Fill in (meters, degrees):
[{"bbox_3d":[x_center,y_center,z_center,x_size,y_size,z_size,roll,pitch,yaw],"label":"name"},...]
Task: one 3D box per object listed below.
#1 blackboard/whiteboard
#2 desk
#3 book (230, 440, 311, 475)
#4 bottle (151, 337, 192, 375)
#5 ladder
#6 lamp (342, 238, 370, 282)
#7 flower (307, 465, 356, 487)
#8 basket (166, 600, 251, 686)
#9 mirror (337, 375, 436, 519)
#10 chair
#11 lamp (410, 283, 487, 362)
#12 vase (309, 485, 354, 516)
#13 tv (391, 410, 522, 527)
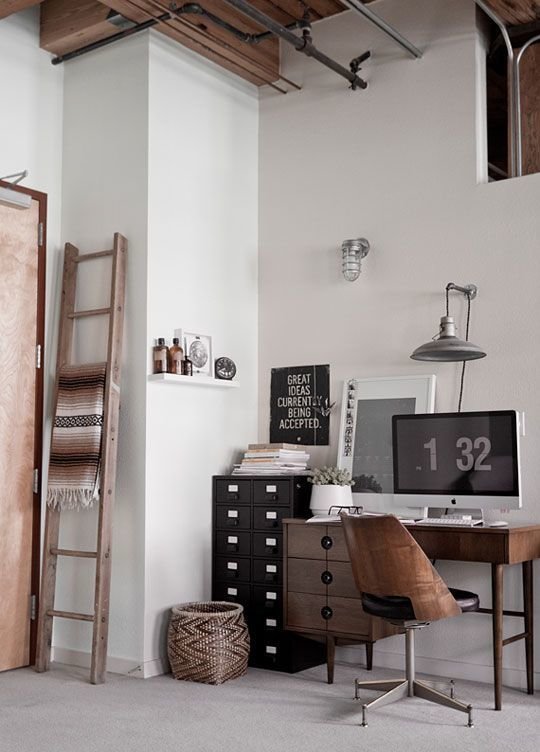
[{"bbox_3d":[0.183,0.176,4.036,0.455,0.494,0.037,-4,-6,40],"label":"blackboard/whiteboard"},{"bbox_3d":[0.621,1.013,2.984,0.897,0.559,0.300,-6,-11,41],"label":"desk"},{"bbox_3d":[0.037,0.448,3.774,0.237,0.104,0.237,-3,-4,37],"label":"book"},{"bbox_3d":[-0.511,-0.097,3.557,0.088,0.239,0.180,-6,-10,43],"label":"bottle"},{"bbox_3d":[-0.945,0.361,3.517,0.286,2.187,0.739,5,-4,-42],"label":"ladder"},{"bbox_3d":[0.468,-0.643,3.826,0.155,0.222,0.080,3,-3,-6],"label":"lamp"},{"bbox_3d":[0.327,0.515,3.537,0.279,0.093,0.127,5,-4,-36],"label":"flower"},{"bbox_3d":[-0.269,1.213,3.330,0.369,0.294,0.370,0,-4,-25],"label":"basket"},{"bbox_3d":[0.588,0.370,3.463,0.646,0.857,0.041,-7,-16,41],"label":"mirror"},{"bbox_3d":[0.529,0.937,2.708,0.507,0.832,0.508,1,-3,17],"label":"chair"},{"bbox_3d":[0.821,-0.269,3.253,0.349,0.352,0.340,0,-3,44],"label":"lamp"},{"bbox_3d":[0.301,0.610,3.503,0.174,0.128,0.177,-4,-7,29],"label":"vase"},{"bbox_3d":[0.827,0.401,3.066,0.505,0.390,0.162,-5,-13,35],"label":"tv"}]
